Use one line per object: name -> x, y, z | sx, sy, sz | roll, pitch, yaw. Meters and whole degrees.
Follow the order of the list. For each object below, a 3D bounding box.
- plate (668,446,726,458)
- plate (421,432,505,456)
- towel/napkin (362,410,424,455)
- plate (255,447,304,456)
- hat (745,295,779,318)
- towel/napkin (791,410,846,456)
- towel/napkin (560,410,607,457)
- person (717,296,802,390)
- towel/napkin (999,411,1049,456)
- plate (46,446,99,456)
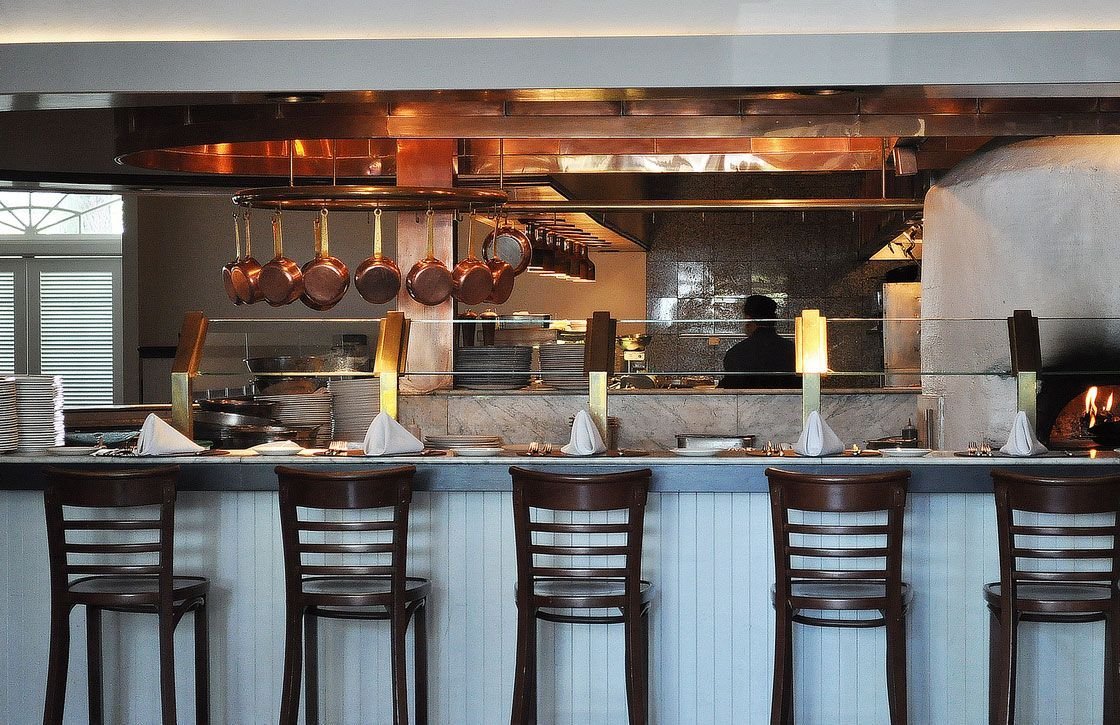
plate -> 0.685, 0.461, 7.082 | 0.271, 0.039, 0.352 | 0, -3, -14
plate -> -0.526, 0.439, 7.309 | 0.394, 0.111, 0.751 | 0, -3, -6
towel/napkin -> -0.846, 0.359, 6.915 | 0.293, 0.220, 0.115 | 0, -4, -9
plate -> -1.434, 0.447, 6.961 | 0.217, 0.040, 0.074 | -1, -3, 4
hat -> 1.394, -0.382, 9.420 | 0.226, 0.115, 0.205 | 0, -2, -5
towel/napkin -> 1.288, 0.357, 6.938 | 0.292, 0.214, 0.223 | -2, 0, 31
towel/napkin -> 0.104, 0.362, 6.965 | 0.235, 0.189, 0.215 | -2, 6, 32
person -> 1.312, -0.126, 9.220 | 0.565, 0.656, 0.422 | -3, 10, -20
towel/napkin -> 2.308, 0.366, 6.888 | 0.212, 0.179, 0.192 | -9, 17, -11
plate -> -2.496, 0.451, 7.012 | 0.285, 0.040, 0.167 | -1, -3, 8
